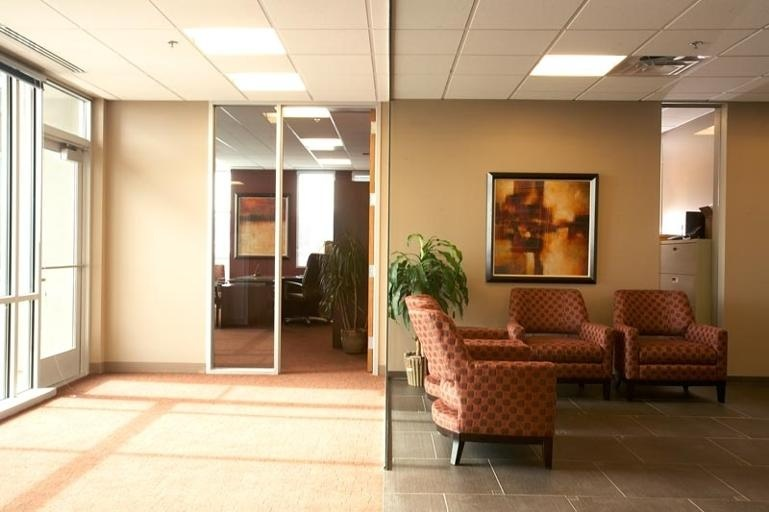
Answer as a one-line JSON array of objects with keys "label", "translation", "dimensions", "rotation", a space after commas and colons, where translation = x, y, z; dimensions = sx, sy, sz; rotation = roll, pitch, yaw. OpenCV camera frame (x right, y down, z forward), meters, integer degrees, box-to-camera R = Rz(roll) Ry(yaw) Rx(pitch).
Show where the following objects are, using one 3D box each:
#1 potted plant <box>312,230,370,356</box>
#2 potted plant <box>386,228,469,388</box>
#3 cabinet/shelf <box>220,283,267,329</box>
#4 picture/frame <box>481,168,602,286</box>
[{"label": "potted plant", "translation": [-0.637, 0.591, 8.849], "dimensions": [0.731, 1.799, 0.648], "rotation": [0, 10, -3]}, {"label": "potted plant", "translation": [0.516, 0.569, 6.958], "dimensions": [1.012, 1.657, 0.920], "rotation": [1, -29, 7]}, {"label": "cabinet/shelf", "translation": [-1.898, 0.669, 7.790], "dimensions": [0.623, 0.468, 0.636], "rotation": [0, 0, -3]}, {"label": "picture/frame", "translation": [2.123, -0.370, 7.425], "dimensions": [1.635, 1.521, 0.076], "rotation": [0, 3, 3]}]
